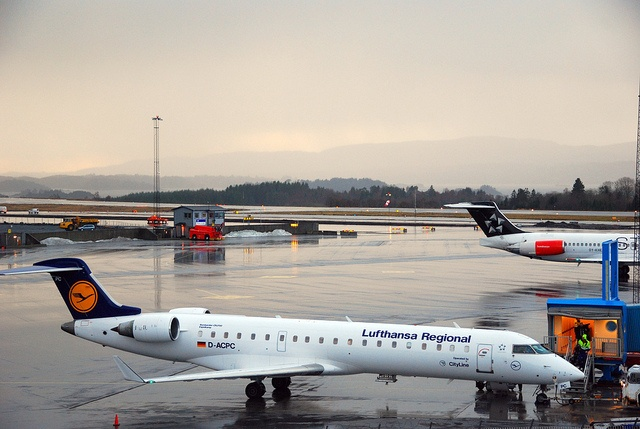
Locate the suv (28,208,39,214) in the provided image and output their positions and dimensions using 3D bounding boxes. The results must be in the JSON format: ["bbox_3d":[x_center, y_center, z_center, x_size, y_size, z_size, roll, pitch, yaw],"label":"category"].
[{"bbox_3d":[-58.778,-0.773,239.879,1.911,0.871,1.289,9,9,37],"label":"suv"}]

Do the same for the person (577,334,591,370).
[{"bbox_3d":[17.853,9.251,79.124,0.954,1.832,1.153,7,6,18],"label":"person"}]
